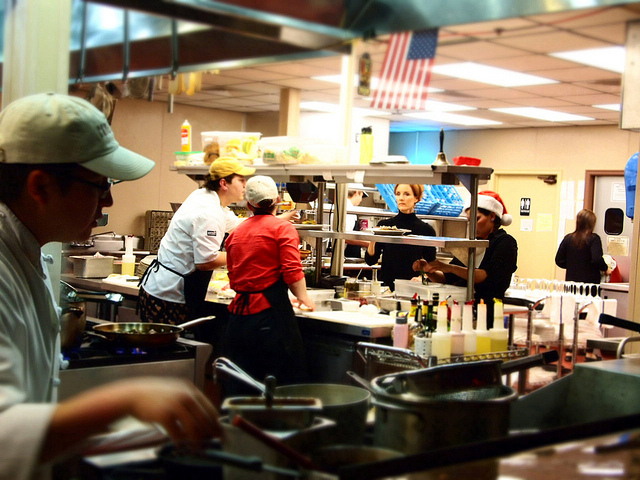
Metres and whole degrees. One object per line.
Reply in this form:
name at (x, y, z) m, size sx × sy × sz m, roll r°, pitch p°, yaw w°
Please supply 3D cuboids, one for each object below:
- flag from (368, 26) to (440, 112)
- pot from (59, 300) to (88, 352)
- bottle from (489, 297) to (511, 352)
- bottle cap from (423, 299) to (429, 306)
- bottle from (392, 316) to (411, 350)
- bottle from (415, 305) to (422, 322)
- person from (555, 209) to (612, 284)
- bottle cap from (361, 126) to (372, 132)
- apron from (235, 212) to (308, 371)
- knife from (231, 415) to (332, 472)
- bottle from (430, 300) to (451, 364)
flag at (0.532, -1.019, 3.121) m, size 0.279 × 0.638 × 0.021 m, roll 2°, pitch -28°, yaw 15°
pot at (-0.977, 0.337, 2.027) m, size 0.094 × 0.196 × 0.356 m, roll 3°, pitch 3°, yaw -25°
bottle at (1.046, 0.509, 3.005) m, size 0.119 × 0.282 × 0.116 m, roll 1°, pitch -5°, yaw 0°
bottle cap at (0.626, 0.371, 3.022) m, size 0.031 × 0.027 × 0.030 m, roll 0°, pitch 2°, yaw -16°
bottle at (0.491, 0.543, 3.010) m, size 0.075 × 0.179 × 0.178 m, roll 6°, pitch 4°, yaw 35°
bottle at (0.597, 0.445, 3.090) m, size 0.035 × 0.104 × 0.125 m, roll 4°, pitch 3°, yaw 11°
person at (4.268, 0.107, 8.339) m, size 0.764 × 0.996 × 0.360 m, roll 5°, pitch 3°, yaw 23°
bottle cap at (0.369, -0.877, 4.090) m, size 0.067 × 0.045 × 0.039 m, roll 3°, pitch 6°, yaw 30°
apron at (-0.324, 0.562, 3.634) m, size 0.500 × 0.653 × 0.182 m, roll 5°, pitch 3°, yaw 28°
knife at (-0.055, 0.270, 0.678) m, size 0.162 × 0.022 × 0.019 m, roll 26°, pitch 8°, yaw -12°
bottle at (0.657, 0.512, 2.788) m, size 0.114 × 0.349 × 0.109 m, roll 1°, pitch 2°, yaw 0°
